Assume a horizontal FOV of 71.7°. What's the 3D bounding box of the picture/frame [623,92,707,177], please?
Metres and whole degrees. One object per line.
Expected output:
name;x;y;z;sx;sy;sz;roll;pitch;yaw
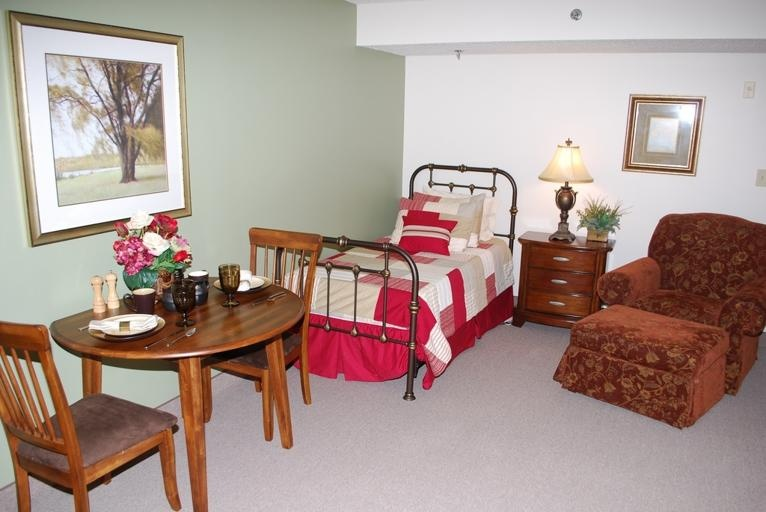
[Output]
picture/frame;2.675;-1.165;4.980;0.691;0.825;0.061;8;12;19

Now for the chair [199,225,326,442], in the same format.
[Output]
chair;-0.846;0.508;3.649;0.781;1.280;0.781;-10;17;-40

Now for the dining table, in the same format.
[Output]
dining table;-1.201;0.590;3.114;1.231;0.871;1.301;7;15;27

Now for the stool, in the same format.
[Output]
stool;1.949;0.795;4.015;1.150;0.599;0.614;11;19;30

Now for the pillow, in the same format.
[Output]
pillow;0.725;-0.463;5.110;0.734;0.233;0.727;3;32;13

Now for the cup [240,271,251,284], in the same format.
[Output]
cup;-0.888;0.142;3.392;0.061;0.048;0.060;0;9;0

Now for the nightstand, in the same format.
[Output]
nightstand;1.750;0.213;5.219;0.863;0.994;0.512;7;30;23

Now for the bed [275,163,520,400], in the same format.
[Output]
bed;0.276;0.070;4.888;1.372;1.428;2.153;9;19;31

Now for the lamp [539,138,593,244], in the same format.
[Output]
lamp;1.756;-0.651;5.152;0.475;0.932;0.596;7;17;18

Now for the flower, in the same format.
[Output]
flower;-1.370;-0.144;3.139;0.335;0.396;0.388;-5;55;-25

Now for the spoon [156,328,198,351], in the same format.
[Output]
spoon;-1.078;0.437;2.784;0.048;0.033;0.208;9;12;10

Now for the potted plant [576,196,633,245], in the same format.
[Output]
potted plant;2.121;-0.341;5.144;0.448;0.363;0.465;-3;12;-15

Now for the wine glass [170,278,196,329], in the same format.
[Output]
wine glass;-1.117;0.245;2.966;0.115;0.248;0.194;-6;18;-21
